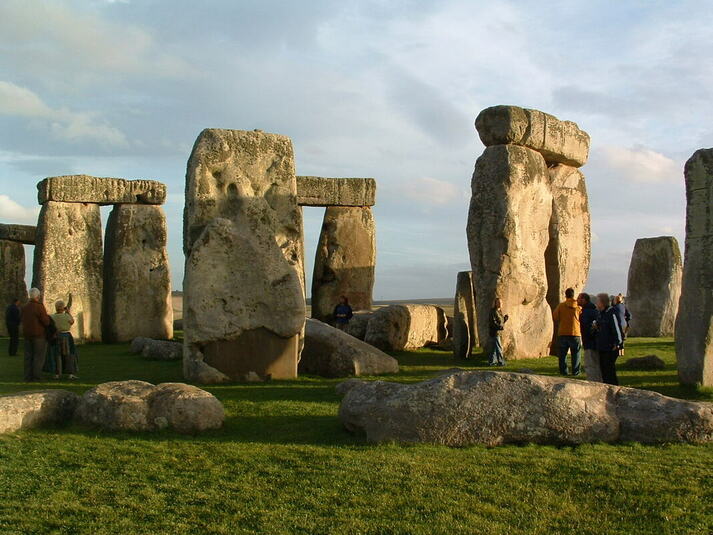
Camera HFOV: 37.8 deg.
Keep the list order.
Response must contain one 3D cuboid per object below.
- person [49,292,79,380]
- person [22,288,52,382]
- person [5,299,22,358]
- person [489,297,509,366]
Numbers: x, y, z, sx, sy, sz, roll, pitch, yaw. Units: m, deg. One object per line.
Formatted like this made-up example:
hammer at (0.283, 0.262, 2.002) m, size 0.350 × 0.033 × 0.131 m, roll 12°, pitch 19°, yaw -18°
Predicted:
person at (-4.898, 1.204, 17.468) m, size 0.400 × 1.408 × 0.655 m, roll 4°, pitch -1°, yaw -42°
person at (-5.351, 1.216, 17.228) m, size 0.465 × 1.518 × 0.462 m, roll 4°, pitch -1°, yaw -14°
person at (-6.895, 1.172, 20.777) m, size 0.274 × 1.139 × 1.203 m, roll 4°, pitch -1°, yaw -19°
person at (2.701, 1.207, 19.760) m, size 0.319 × 1.140 × 0.815 m, roll 4°, pitch -1°, yaw 8°
